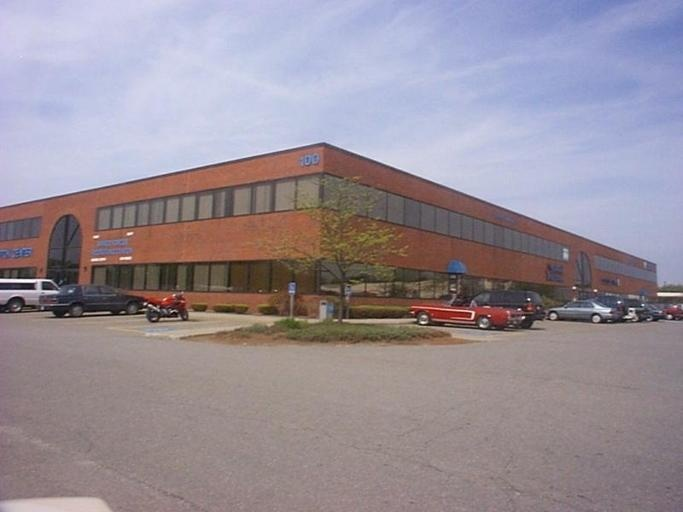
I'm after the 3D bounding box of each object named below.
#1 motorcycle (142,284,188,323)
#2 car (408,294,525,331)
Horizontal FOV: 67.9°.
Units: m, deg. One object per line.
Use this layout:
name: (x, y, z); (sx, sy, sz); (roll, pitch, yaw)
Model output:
motorcycle: (-8.246, 2.413, 24.142); (1.101, 1.306, 2.543); (-5, -7, 32)
car: (6.171, 2.863, 24.499); (4.720, 1.374, 2.068); (2, -4, 22)
